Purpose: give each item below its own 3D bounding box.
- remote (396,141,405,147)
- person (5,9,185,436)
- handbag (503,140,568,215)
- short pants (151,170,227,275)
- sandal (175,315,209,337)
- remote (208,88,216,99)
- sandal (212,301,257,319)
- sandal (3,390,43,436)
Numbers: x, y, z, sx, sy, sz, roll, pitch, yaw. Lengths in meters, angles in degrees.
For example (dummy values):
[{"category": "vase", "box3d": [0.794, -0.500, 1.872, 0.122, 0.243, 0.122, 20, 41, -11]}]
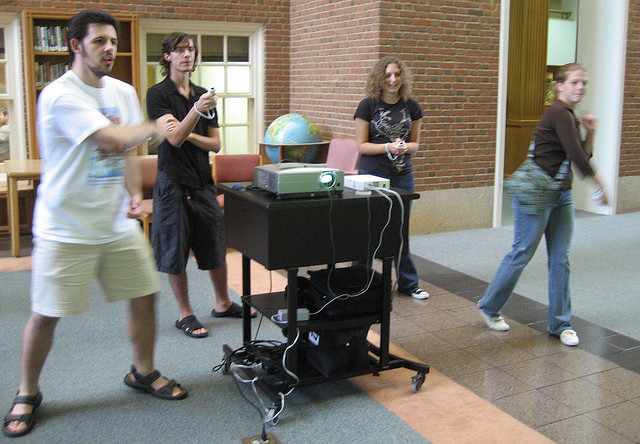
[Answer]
[{"category": "remote", "box3d": [0.631, -0.618, 3.994, 0.073, 0.045, 0.018, -11, 20, -38]}, {"category": "person", "box3d": [-1.266, -0.004, 2.696, 0.855, 2.154, 0.426, -7, 18, -25]}, {"category": "handbag", "box3d": [1.513, -0.313, 3.606, 0.212, 0.491, 0.338, -14, 21, -42]}, {"category": "short pants", "box3d": [-0.983, 0.003, 3.773, 0.527, 0.796, 0.282, -3, 17, -15]}, {"category": "sandal", "box3d": [-0.959, 0.769, 3.797, 0.115, 0.091, 0.279, -7, 12, -42]}, {"category": "remote", "box3d": [-0.692, -0.836, 3.254, 0.023, 0.073, 0.047, 31, -18, -35]}, {"category": "sandal", "box3d": [-0.710, 0.718, 4.131, 0.395, 0.131, 0.133, -1, 5, -3]}, {"category": "sandal", "box3d": [-1.555, 1.007, 2.758, 0.264, 0.150, 0.288, 0, 12, -22]}]
